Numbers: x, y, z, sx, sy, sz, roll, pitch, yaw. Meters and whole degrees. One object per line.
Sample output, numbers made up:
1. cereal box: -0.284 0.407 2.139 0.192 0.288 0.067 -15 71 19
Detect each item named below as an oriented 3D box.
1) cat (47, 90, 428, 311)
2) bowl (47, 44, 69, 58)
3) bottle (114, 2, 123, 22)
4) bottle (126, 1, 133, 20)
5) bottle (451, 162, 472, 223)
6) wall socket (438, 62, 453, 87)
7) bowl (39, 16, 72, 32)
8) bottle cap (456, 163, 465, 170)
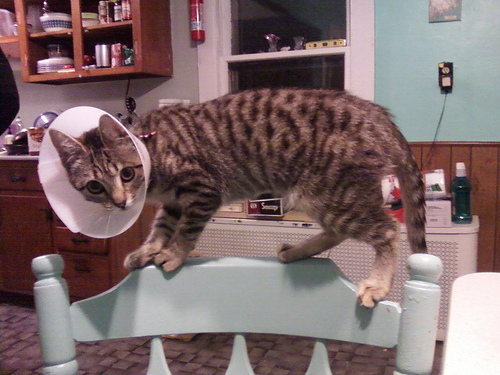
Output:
1. cat: -0.003 0.022 1.411 1.245 0.514 0.393 2 -2 15
2. bowl: -1.591 -1.138 3.472 0.174 0.088 0.156 -1 4 -18
3. bottle: -0.980 -1.319 3.124 0.081 0.141 0.041 7 17 36
4. bottle: -0.865 -1.286 3.018 0.032 0.131 0.088 -11 15 -29
5. bottle: 1.298 0.030 2.565 0.128 0.356 0.334 4 14 27
6. wall socket: 1.242 -0.724 2.647 0.124 0.149 0.040 1 6 7
7. bowl: -1.513 -1.291 3.289 0.288 0.124 0.102 1 13 13
8. bottle cap: 1.278 -0.130 2.543 0.047 0.027 0.042 -4 4 -16
